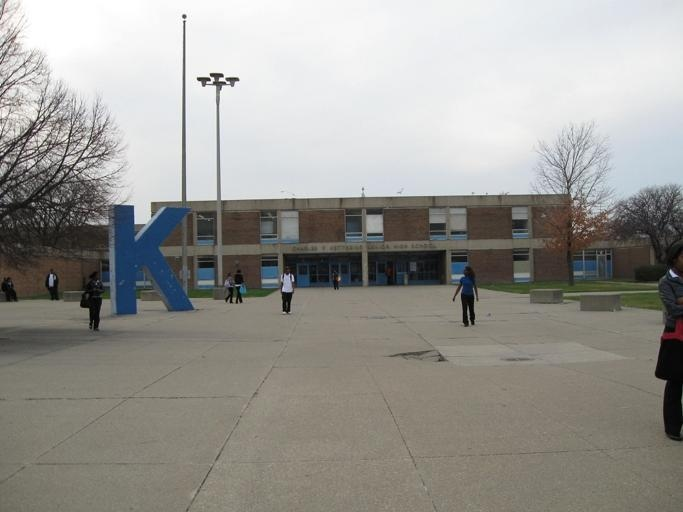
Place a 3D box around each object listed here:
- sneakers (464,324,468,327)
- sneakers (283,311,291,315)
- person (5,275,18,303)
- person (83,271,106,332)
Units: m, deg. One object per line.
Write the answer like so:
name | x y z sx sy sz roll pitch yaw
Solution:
sneakers | 3.511 1.986 19.251 0.093 0.059 0.142 8 -18 -19
sneakers | -1.930 2.066 24.200 0.213 0.097 0.076 3 0 -12
person | -17.763 1.801 36.514 0.543 1.364 3.641 -4 8 -26
person | -7.238 1.330 19.923 0.546 1.700 2.442 -3 7 -21
